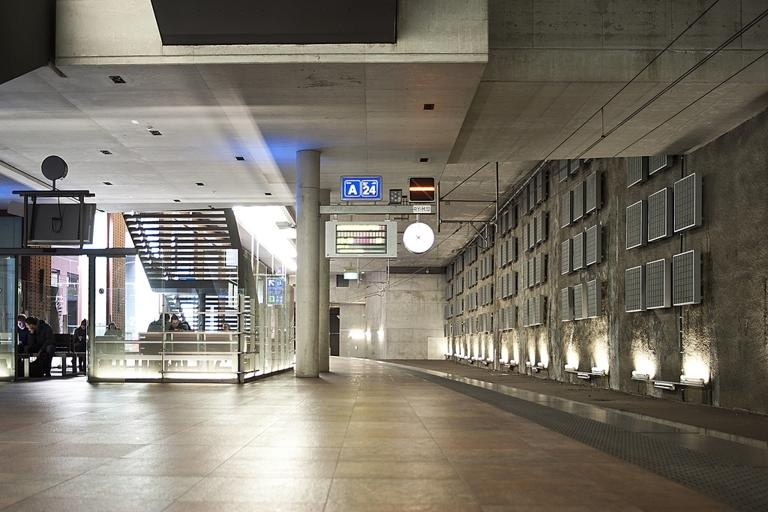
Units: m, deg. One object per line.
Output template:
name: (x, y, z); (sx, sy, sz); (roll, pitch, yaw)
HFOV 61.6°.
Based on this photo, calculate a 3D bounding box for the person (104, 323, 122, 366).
person: (-7.361, 2.367, 17.542); (0.450, 1.075, 0.375); (3, -10, -15)

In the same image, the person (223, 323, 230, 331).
person: (-4.520, 2.031, 18.522); (0.195, 0.289, 0.715); (2, -11, -14)

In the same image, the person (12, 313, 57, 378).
person: (-10.520, 2.721, 19.517); (1.075, 1.834, 0.985); (7, -12, -35)

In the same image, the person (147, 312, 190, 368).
person: (-6.004, 2.151, 17.747); (1.152, 1.078, 0.558); (2, -10, -13)

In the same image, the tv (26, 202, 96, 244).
tv: (-7.060, -0.713, 14.108); (1.288, 0.963, 0.477); (-2, -10, 7)
